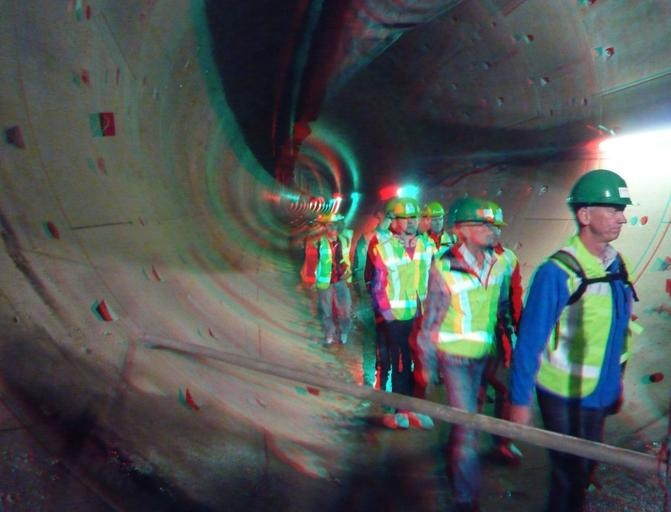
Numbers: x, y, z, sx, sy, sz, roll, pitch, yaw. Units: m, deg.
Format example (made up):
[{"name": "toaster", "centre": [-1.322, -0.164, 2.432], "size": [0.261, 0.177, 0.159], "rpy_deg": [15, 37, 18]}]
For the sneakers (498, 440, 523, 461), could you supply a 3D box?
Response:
[{"name": "sneakers", "centre": [1.005, 1.134, 3.434], "size": [0.134, 0.100, 0.038], "rpy_deg": [42, -37, 28]}]

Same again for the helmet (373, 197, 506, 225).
[{"name": "helmet", "centre": [0.776, -0.294, 3.909], "size": [0.487, 0.140, 0.314], "rpy_deg": [4, 2, 34]}]

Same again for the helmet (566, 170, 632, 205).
[{"name": "helmet", "centre": [1.368, -0.337, 3.095], "size": [0.218, 0.125, 0.186], "rpy_deg": [2, 10, 42]}]

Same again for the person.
[{"name": "person", "centre": [1.100, 0.503, 3.361], "size": [1.001, 1.863, 0.641], "rpy_deg": [2, -15, 42]}]
